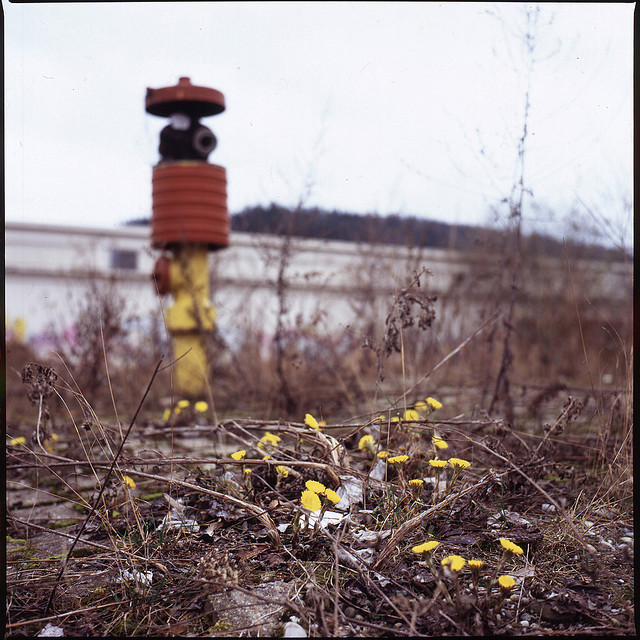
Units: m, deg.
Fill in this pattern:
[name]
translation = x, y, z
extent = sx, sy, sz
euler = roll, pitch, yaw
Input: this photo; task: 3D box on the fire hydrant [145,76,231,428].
[fire hydrant]
translation = -0.677, -0.274, 4.905
extent = 0.386, 1.813, 0.803
euler = -1, 6, -10
